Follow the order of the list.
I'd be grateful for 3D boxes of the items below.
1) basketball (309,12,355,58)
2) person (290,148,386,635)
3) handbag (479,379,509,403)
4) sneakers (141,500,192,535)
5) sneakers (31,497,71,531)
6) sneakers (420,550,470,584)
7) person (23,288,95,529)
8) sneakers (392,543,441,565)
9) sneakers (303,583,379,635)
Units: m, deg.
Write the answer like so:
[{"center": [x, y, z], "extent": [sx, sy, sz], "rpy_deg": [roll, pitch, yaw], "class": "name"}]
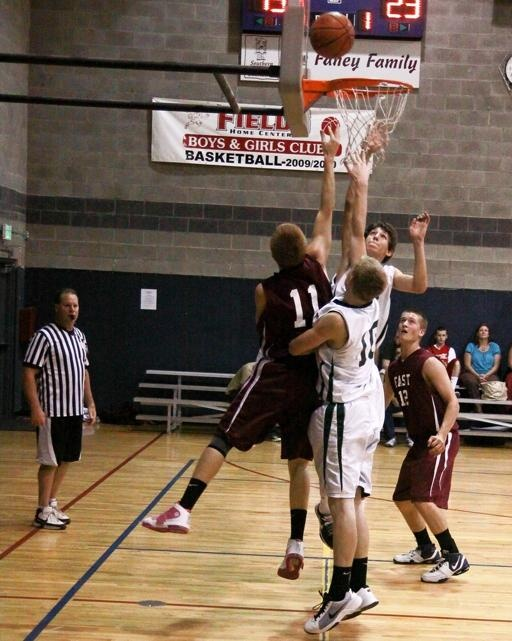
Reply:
[{"center": [0.479, -1.787, 4.962], "extent": [0.277, 0.299, 0.269], "rpy_deg": [-13, 10, -14], "class": "basketball"}, {"center": [0.439, 0.596, 3.820], "extent": [0.410, 2.153, 0.509], "rpy_deg": [3, 0, 36], "class": "person"}, {"center": [3.023, 0.895, 9.854], "extent": [0.261, 0.180, 0.252], "rpy_deg": [1, -3, -6], "class": "handbag"}, {"center": [-0.447, 0.931, 3.689], "extent": [0.282, 0.161, 0.098], "rpy_deg": [6, -16, 5], "class": "sneakers"}, {"center": [-1.377, 1.330, 5.233], "extent": [0.317, 0.210, 0.106], "rpy_deg": [3, 0, -8], "class": "sneakers"}, {"center": [1.133, 1.442, 4.559], "extent": [0.367, 0.176, 0.105], "rpy_deg": [3, 1, -29], "class": "sneakers"}, {"center": [-1.350, 0.592, 5.274], "extent": [0.262, 1.504, 0.516], "rpy_deg": [3, 0, 34], "class": "person"}, {"center": [1.012, 1.475, 4.907], "extent": [0.327, 0.138, 0.115], "rpy_deg": [0, -6, -2], "class": "sneakers"}, {"center": [0.417, 1.409, 3.763], "extent": [0.394, 0.169, 0.127], "rpy_deg": [-27, -6, -10], "class": "sneakers"}]
